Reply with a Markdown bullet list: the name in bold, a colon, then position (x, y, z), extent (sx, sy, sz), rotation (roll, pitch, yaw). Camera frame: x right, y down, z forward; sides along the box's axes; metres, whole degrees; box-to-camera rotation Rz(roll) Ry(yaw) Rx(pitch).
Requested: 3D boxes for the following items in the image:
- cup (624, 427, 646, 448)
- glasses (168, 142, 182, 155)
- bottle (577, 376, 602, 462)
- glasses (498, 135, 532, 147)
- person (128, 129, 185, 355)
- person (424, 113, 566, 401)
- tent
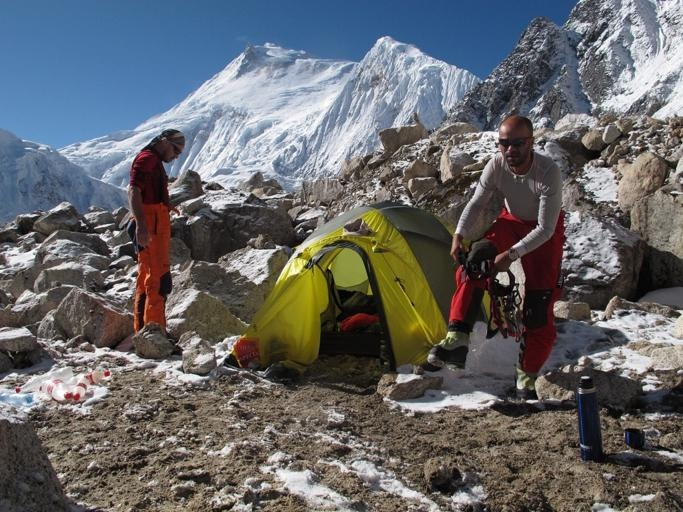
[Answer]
- **cup**: position (2.864, 1.756, 7.497), extent (0.178, 0.127, 0.179), rotation (-1, -2, 0)
- **glasses**: position (-2.094, -1.365, 9.854), extent (0.138, 0.128, 0.044), rotation (-7, 0, -8)
- **bottle**: position (2.425, 1.556, 7.457), extent (0.239, 0.799, 0.170), rotation (0, 3, 16)
- **glasses**: position (1.887, -1.220, 8.285), extent (0.353, 0.140, 0.149), rotation (0, 4, 9)
- **person**: position (-2.310, -0.210, 9.693), extent (0.683, 2.784, 0.714), rotation (-2, 3, -12)
- **person**: position (1.800, 0.006, 8.457), extent (1.267, 3.068, 0.943), rotation (0, 3, 13)
- **tent**: position (0.347, 0.275, 9.862), extent (2.211, 1.438, 2.797), rotation (-1, 1, 28)
